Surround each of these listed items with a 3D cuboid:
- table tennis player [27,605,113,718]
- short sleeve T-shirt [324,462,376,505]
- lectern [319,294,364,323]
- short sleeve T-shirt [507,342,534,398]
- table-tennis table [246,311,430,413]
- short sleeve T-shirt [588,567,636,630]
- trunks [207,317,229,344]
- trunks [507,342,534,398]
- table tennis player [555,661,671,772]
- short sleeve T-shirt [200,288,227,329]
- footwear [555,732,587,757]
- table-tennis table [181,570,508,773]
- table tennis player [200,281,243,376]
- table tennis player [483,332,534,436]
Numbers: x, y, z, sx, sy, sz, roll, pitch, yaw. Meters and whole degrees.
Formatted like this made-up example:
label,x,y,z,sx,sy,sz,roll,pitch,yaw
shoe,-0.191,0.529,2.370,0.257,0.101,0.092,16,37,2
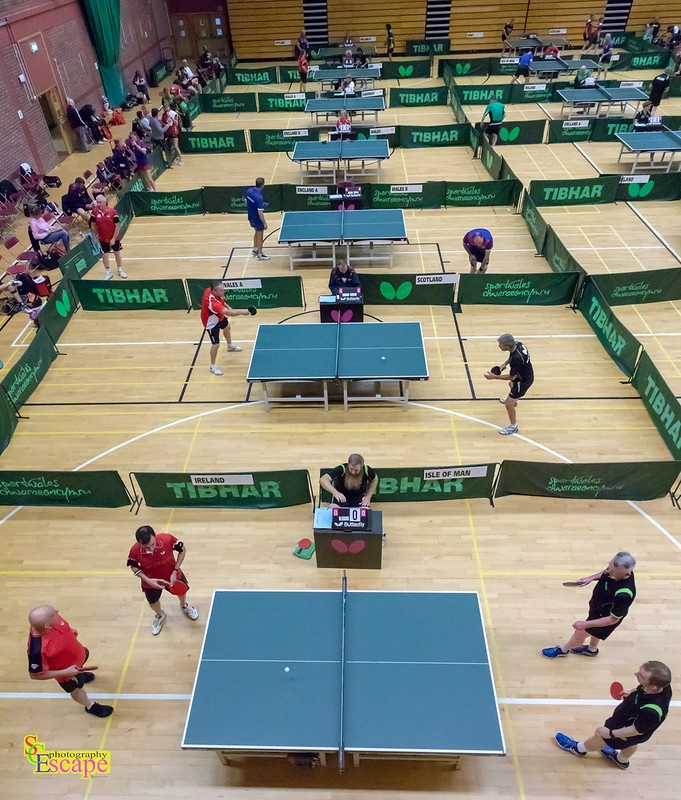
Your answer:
label,x,y,z,sx,sy,sz,roll,pitch,yaw
table tennis player,-2.657,2.625,6.573,0.586,1.352,0.517,-12,74,-5
short sleeve T-shirt,0.112,1.006,7.866,0.759,0.760,0.446,2,75,0
lectern,0.018,-1.535,11.762,0.959,0.583,0.463,0,55,2
short sleeve T-shirt,2.487,-0.379,9.333,0.380,0.839,0.319,10,74,10
table-tennis table,-0.028,-0.738,10.510,2.675,0.201,1.640,-1,35,5
short sleeve T-shirt,2.522,1.890,6.290,0.338,0.733,0.315,13,40,24
trunks,-2.009,-1.144,10.987,0.175,0.408,0.451,28,69,8
trunks,2.487,-0.379,9.333,0.380,0.839,0.319,10,74,10
table tennis player,2.471,2.927,6.096,0.705,1.214,0.547,27,61,13
short sleeve T-shirt,-2.018,-1.444,10.681,0.501,0.754,0.602,-5,63,-11
footwear,2.157,3.238,6.304,0.258,0.097,0.133,23,65,19
table-tennis table,0.055,2.480,5.982,2.191,0.622,1.707,-2,53,4
table tennis player,-2.033,-1.173,11.390,0.964,1.609,0.731,5,63,0
table tennis player,2.490,-0.152,9.960,0.680,1.527,0.745,2,63,9
